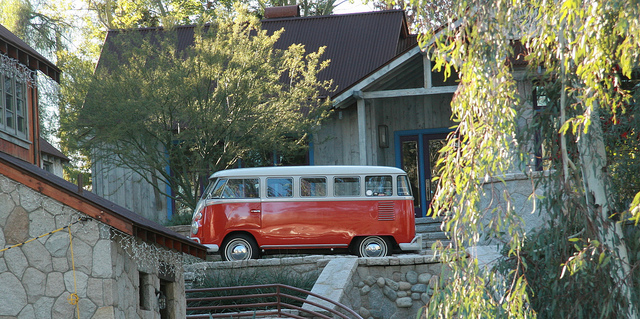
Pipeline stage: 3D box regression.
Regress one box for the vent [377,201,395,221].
[{"bbox_3d":[2.005,1.576,28.805,0.495,0.523,0.485,1,-3,1],"label":"vent"}]
